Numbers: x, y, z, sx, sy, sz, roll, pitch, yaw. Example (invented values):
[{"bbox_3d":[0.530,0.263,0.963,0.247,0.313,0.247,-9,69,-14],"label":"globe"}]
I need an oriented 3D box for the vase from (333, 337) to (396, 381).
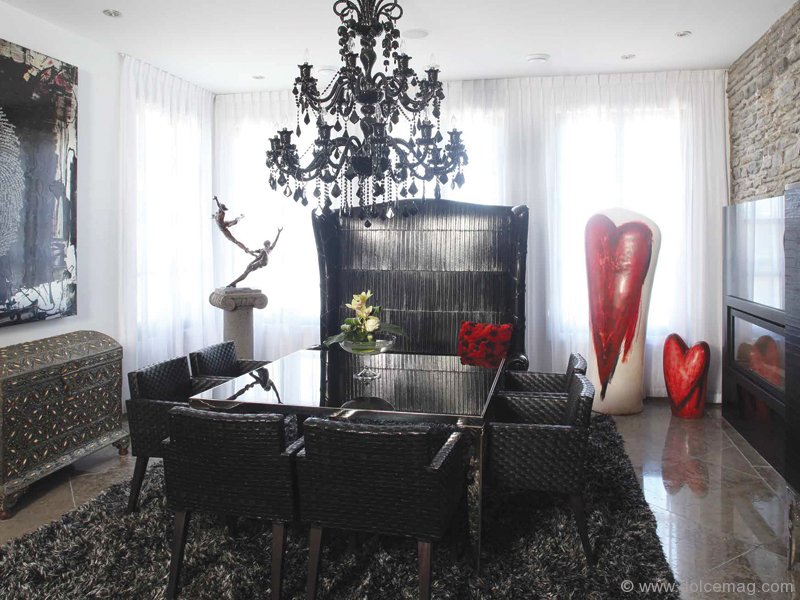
[{"bbox_3d":[-0.233,0.381,4.026,0.273,0.220,0.284,1,-4,-2],"label":"vase"}]

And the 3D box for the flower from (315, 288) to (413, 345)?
[{"bbox_3d":[-0.296,0.153,4.125,0.486,0.339,0.500,4,10,37],"label":"flower"}]
